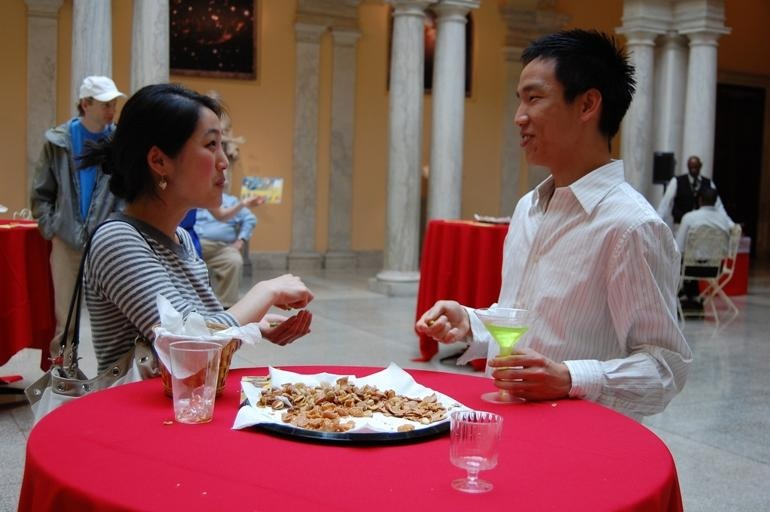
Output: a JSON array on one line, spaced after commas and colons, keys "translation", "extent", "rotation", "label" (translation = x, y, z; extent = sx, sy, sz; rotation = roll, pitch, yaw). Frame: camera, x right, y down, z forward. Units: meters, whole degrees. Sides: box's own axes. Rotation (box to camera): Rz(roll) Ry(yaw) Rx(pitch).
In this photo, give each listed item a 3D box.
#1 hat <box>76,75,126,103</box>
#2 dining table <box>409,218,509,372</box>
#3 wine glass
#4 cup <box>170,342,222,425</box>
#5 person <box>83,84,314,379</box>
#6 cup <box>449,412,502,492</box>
[{"translation": [-2.233, -1.288, 5.315], "extent": [0.447, 0.215, 0.323], "rotation": [5, 11, 19], "label": "hat"}, {"translation": [0.724, 0.240, 6.314], "extent": [1.072, 1.477, 1.177], "rotation": [3, 0, 10], "label": "dining table"}, {"translation": [0.377, 0.330, 2.281], "extent": [0.266, 0.322, 0.268], "rotation": [0, -3, 0], "label": "wine glass"}, {"translation": [-0.586, 0.389, 2.117], "extent": [0.169, 0.233, 0.159], "rotation": [-2, -8, 0], "label": "cup"}, {"translation": [-0.723, -0.208, 3.226], "extent": [1.064, 1.774, 0.942], "rotation": [-3, 9, -15], "label": "person"}, {"translation": [0.238, 0.529, 1.850], "extent": [0.137, 0.188, 0.123], "rotation": [4, 1, -27], "label": "cup"}]
